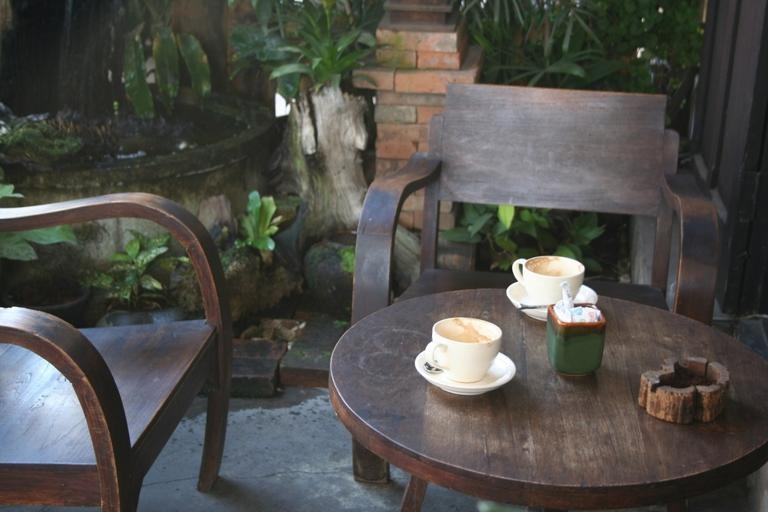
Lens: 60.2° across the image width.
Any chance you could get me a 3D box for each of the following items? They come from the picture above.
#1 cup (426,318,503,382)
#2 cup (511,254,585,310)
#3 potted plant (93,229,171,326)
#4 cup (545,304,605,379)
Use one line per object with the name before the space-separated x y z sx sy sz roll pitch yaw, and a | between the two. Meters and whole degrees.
cup | 0.188 0.198 1.503 0.161 0.091 0.122 -18 35 -36
cup | 0.438 0.045 1.747 0.131 0.107 0.171 -18 30 -31
potted plant | -1.164 0.096 3.173 0.389 0.502 0.371 3 27 -24
cup | 0.443 0.196 1.592 0.145 0.169 0.147 -1 18 0
